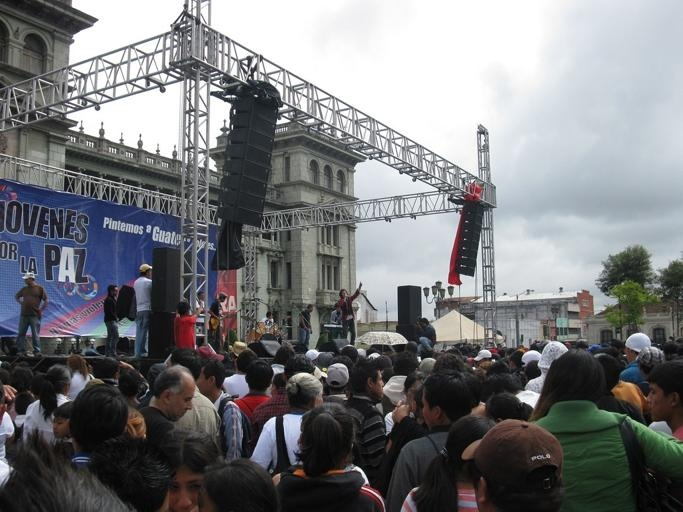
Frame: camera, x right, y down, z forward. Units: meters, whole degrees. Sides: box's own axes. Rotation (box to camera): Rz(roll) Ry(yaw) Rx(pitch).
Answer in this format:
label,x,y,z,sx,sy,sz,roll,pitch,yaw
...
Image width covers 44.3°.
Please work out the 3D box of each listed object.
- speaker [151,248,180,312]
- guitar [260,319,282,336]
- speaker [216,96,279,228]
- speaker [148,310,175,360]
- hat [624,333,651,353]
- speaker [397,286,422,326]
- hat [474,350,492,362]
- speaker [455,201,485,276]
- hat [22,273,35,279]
label,x,y,z,sx,sy,sz,roll,pitch,yaw
speaker,-3.444,0.482,16.326,0.541,1.302,0.479,4,-9,-22
guitar,-2.218,2.222,25.998,0.673,0.342,0.866,1,-14,5
speaker,-2.046,-2.054,17.998,0.570,2.832,1.350,-8,-12,43
speaker,-3.455,1.537,16.171,0.640,0.860,0.619,5,-10,-28
hat,3.988,1.125,11.067,0.345,0.243,0.467,-1,-5,3
speaker,2.313,1.655,28.151,0.738,1.324,1.133,0,-9,0
hat,2.364,1.641,13.852,0.421,0.214,0.292,1,-8,1
speaker,4.365,-0.654,28.351,0.924,2.725,1.394,-1,-9,9
hat,-7.425,0.463,19.644,0.170,0.116,0.237,-8,-12,39
